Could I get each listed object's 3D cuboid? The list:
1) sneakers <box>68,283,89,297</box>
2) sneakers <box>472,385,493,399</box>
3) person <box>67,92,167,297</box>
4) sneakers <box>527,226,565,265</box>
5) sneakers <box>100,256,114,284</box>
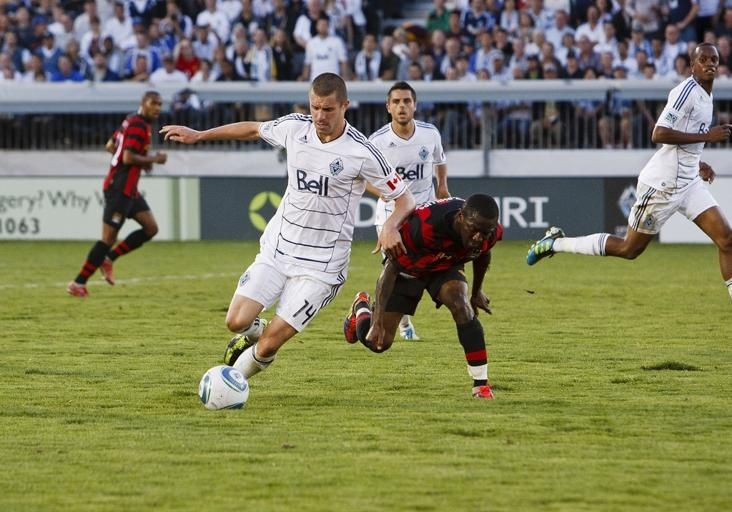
[{"bbox_3d":[-3.562,0.434,16.130,0.155,0.110,0.320,-20,-22,31],"label":"sneakers"},{"bbox_3d":[1.143,1.304,12.396,0.224,0.114,0.173,-3,15,-12],"label":"sneakers"},{"bbox_3d":[-3.126,-0.744,16.505,1.193,2.629,1.386,-2,15,-6],"label":"person"},{"bbox_3d":[2.087,-0.105,15.558,0.570,0.201,0.264,-27,43,-16],"label":"sneakers"},{"bbox_3d":[-3.337,0.191,16.729,0.162,0.366,0.136,12,47,29],"label":"sneakers"}]
